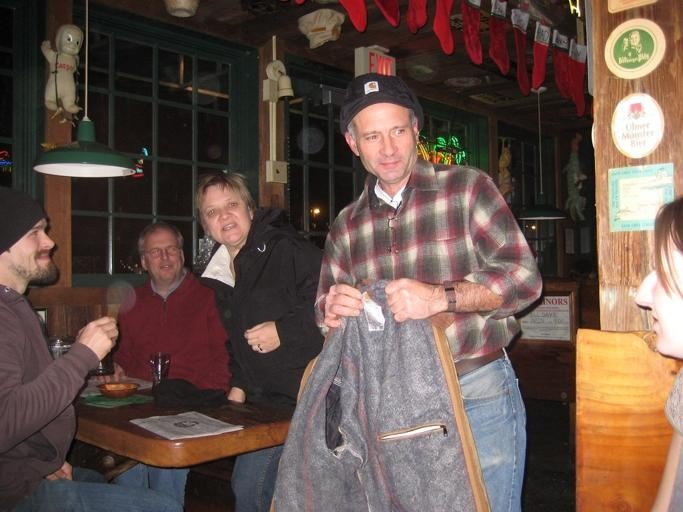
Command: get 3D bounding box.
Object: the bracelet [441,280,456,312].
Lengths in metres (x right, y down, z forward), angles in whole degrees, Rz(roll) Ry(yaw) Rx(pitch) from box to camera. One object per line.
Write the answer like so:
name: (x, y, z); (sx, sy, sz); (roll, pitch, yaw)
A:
bracelet: (0.399, 0.151, 2.235); (0.037, 0.098, 0.093); (-5, -8, 2)

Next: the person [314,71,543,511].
person: (0.326, 0.131, 2.451); (0.932, 1.790, 0.529); (1, 3, 18)

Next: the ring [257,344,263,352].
ring: (-0.425, 0.475, 3.105); (0.028, 0.037, 0.013); (16, 25, 41)

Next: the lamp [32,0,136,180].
lamp: (-1.831, -1.275, 4.230); (0.606, 1.430, 1.362); (-1, 3, -24)
